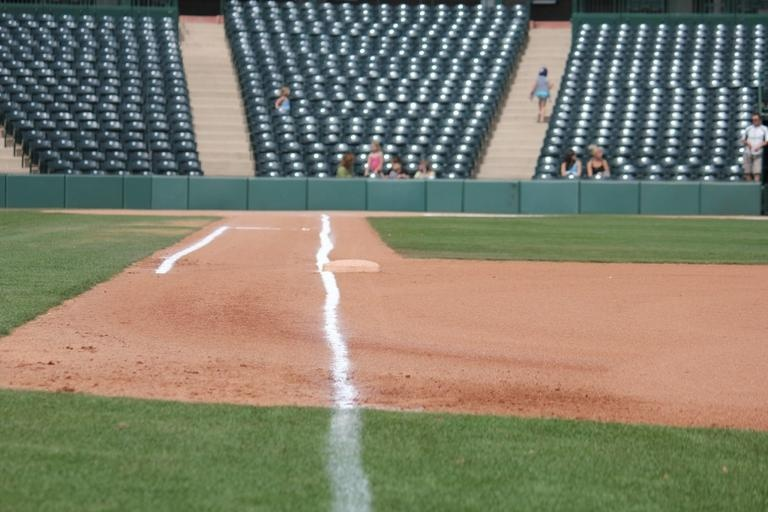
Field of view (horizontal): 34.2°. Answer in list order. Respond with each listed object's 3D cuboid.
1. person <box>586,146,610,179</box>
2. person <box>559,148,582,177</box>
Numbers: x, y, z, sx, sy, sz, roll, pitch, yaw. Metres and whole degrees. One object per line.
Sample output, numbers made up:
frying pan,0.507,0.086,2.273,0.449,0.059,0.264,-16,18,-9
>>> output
person,4.848,-2.154,28.447,0.498,0.729,0.533,1,8,8
person,4.282,-2.143,28.824,0.494,0.632,1.520,1,7,8
